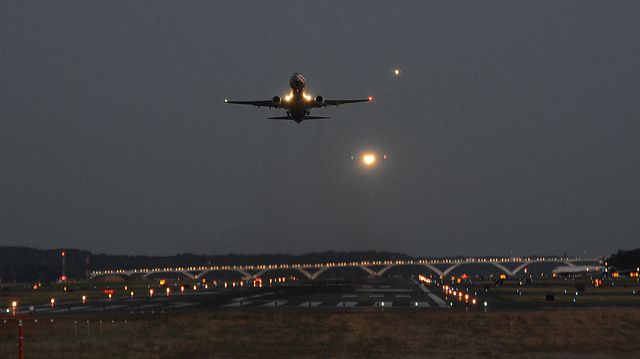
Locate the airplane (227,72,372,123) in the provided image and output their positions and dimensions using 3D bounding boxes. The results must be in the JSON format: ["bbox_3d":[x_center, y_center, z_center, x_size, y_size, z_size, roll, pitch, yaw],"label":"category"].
[{"bbox_3d":[-6.246,-21.920,320.109,19.929,13.840,20.878,-1,-1,-20],"label":"airplane"}]
